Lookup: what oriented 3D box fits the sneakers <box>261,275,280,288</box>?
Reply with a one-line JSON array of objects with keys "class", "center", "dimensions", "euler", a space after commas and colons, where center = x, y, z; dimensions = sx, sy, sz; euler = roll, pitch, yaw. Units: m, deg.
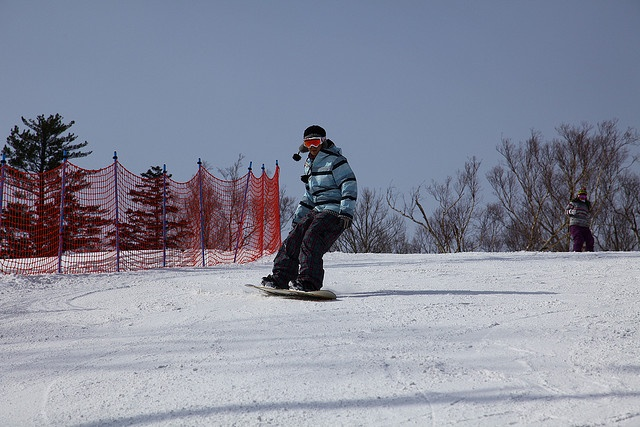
[{"class": "sneakers", "center": [-0.681, 0.960, 8.959], "dimensions": [0.308, 0.144, 0.116], "euler": [5, 1, 28]}]

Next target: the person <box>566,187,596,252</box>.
[{"class": "person", "center": [6.397, 0.310, 15.852], "dimensions": [0.614, 1.608, 1.969], "euler": [1, 11, 22]}]

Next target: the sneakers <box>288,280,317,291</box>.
[{"class": "sneakers", "center": [-0.227, 0.981, 8.663], "dimensions": [0.360, 0.137, 0.169], "euler": [1, 30, 8]}]

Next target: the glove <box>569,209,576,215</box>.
[{"class": "glove", "center": [6.145, -0.038, 15.681], "dimensions": [0.171, 0.135, 0.068], "euler": [1, 11, 20]}]
